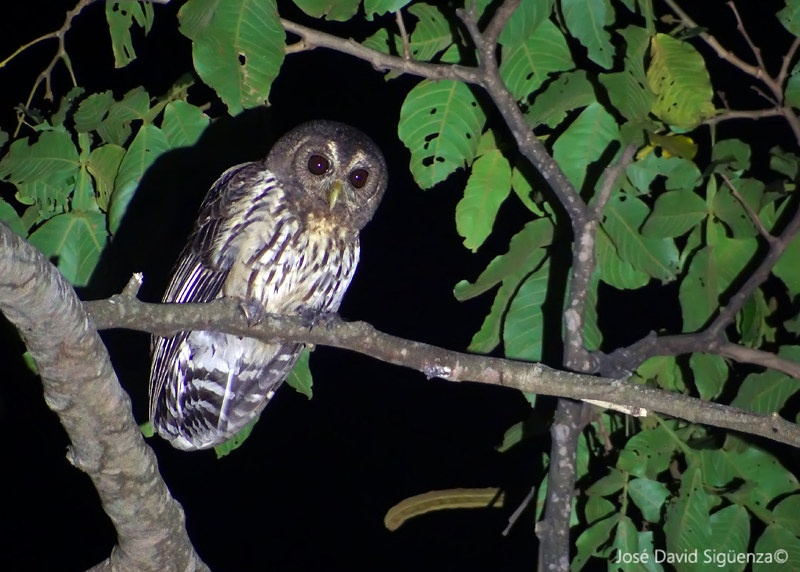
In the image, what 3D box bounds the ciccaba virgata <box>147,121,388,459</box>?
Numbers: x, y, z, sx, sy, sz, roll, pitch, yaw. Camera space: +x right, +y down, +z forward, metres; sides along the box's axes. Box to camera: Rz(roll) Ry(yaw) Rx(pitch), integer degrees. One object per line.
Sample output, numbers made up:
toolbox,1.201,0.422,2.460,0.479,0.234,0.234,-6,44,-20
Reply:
ciccaba virgata,-0.563,-0.060,4.387,0.630,1.195,0.777,33,-35,-20
